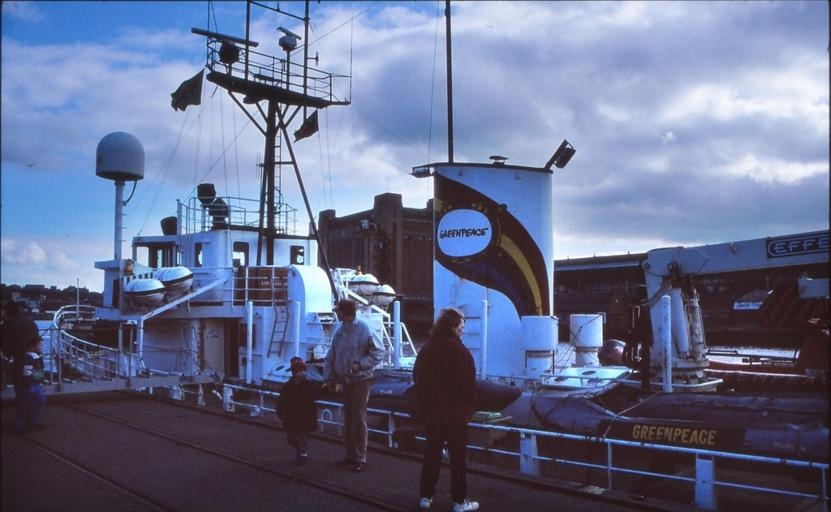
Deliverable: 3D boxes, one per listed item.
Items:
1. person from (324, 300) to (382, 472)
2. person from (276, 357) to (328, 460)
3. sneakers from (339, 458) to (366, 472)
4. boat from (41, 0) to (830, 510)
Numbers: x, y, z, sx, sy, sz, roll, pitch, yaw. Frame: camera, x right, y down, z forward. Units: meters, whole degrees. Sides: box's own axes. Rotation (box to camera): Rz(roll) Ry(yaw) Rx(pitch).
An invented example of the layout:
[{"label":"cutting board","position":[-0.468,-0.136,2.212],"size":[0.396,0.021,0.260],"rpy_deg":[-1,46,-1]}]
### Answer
[{"label":"person","position":[-1.351,2.768,19.006],"size":[1.179,3.688,0.504],"rpy_deg":[-1,-5,25]},{"label":"person","position":[-2.575,3.389,19.295],"size":[0.945,2.258,0.387],"rpy_deg":[1,-5,-9]},{"label":"sneakers","position":[-1.374,4.545,18.992],"size":[0.548,0.233,0.239],"rpy_deg":[-3,-1,36]},{"label":"boat","position":[2.310,1.160,26.778],"size":[29.998,11.798,9.327],"rpy_deg":[1,-1,33]}]
